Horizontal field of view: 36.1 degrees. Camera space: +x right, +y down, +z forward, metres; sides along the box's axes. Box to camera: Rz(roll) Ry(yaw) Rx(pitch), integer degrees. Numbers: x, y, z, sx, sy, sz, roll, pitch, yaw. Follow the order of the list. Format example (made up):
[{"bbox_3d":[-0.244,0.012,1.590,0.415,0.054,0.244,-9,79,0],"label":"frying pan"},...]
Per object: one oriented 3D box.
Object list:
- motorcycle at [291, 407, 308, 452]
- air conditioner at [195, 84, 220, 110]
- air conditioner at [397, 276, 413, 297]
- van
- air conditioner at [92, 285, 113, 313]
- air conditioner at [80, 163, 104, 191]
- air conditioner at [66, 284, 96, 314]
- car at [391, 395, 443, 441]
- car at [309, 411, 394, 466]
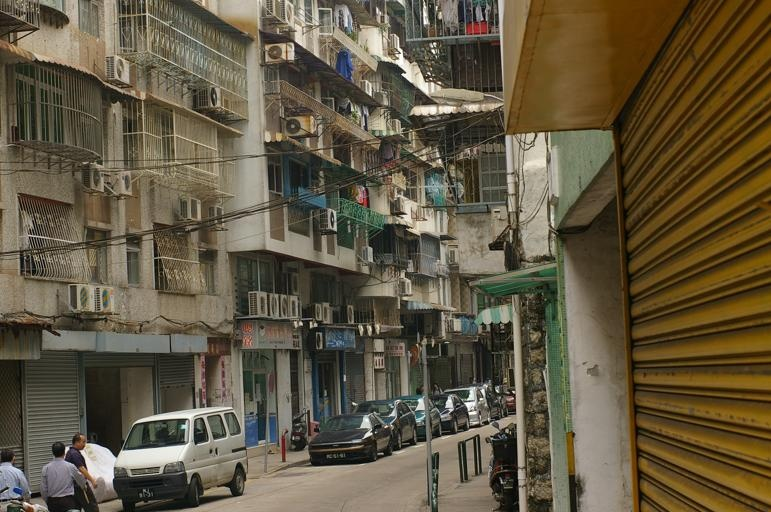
[{"bbox_3d":[-2.848,5.776,39.415,0.610,0.864,1.295,-9,8,9],"label":"motorcycle"},{"bbox_3d":[-5.321,-4.772,35.157,0.707,0.734,0.695,3,1,4],"label":"air conditioner"},{"bbox_3d":[0.722,1.271,51.819,0.644,1.066,1.039,-4,-8,19],"label":"air conditioner"},{"bbox_3d":[-4.559,4.482,26.370,2.027,2.399,3.680,-13,-16,24],"label":"van"},{"bbox_3d":[-6.839,1.059,28.881,0.471,0.618,0.856,-3,-8,11],"label":"air conditioner"},{"bbox_3d":[-7.229,-1.961,29.126,0.272,0.581,0.604,-4,-10,14],"label":"air conditioner"},{"bbox_3d":[-7.255,0.994,28.120,0.205,0.550,0.599,-8,-13,22],"label":"air conditioner"},{"bbox_3d":[1.256,5.357,39.774,1.576,1.810,3.263,-5,-2,13],"label":"car"},{"bbox_3d":[-0.962,5.129,33.380,1.898,1.542,3.837,-2,-9,3],"label":"car"}]
